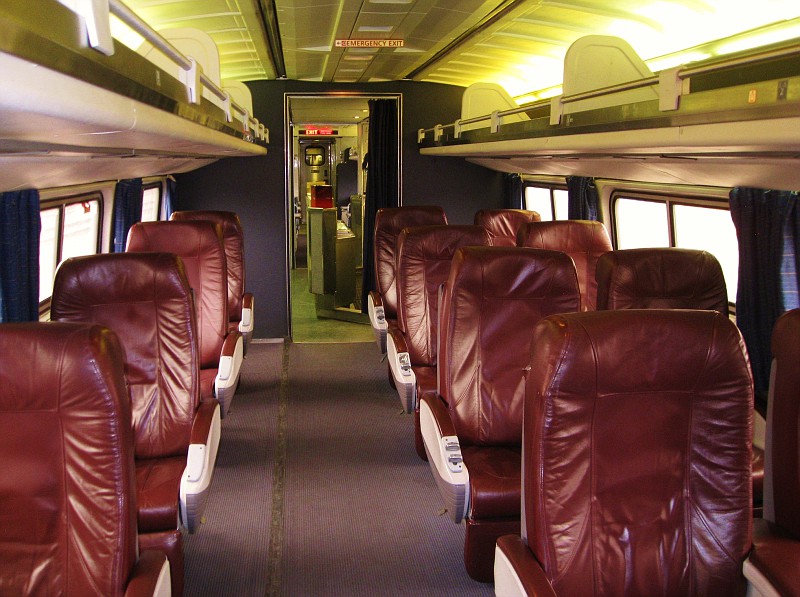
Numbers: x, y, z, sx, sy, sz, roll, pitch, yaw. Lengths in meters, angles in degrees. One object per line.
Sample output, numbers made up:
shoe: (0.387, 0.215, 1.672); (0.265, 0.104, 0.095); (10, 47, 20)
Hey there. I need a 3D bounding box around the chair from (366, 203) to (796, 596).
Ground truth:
chair: (0.842, 0.364, 4.585); (1.795, 1.560, 2.608); (0, 3, -5)
